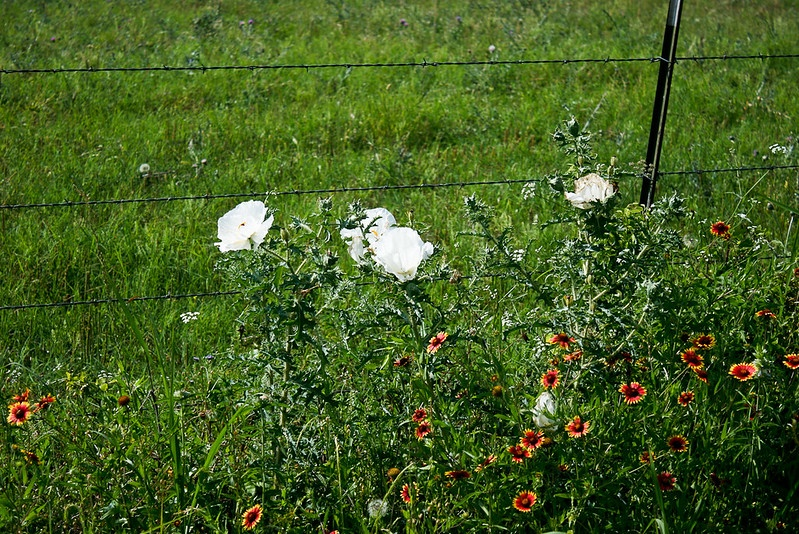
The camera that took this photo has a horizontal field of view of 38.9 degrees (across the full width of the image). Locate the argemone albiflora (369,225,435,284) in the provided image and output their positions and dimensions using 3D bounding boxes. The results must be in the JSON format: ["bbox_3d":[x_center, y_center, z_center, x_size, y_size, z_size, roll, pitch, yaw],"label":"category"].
[{"bbox_3d":[0.001,-0.077,6.013,0.274,0.307,0.146,-23,12,1],"label":"argemone albiflora"}]

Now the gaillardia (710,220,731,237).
[{"bbox_3d":[1.933,-0.230,6.796,0.106,0.119,0.040,5,0,10],"label":"gaillardia"}]

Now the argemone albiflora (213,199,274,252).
[{"bbox_3d":[-0.844,-0.201,6.148,0.308,0.285,0.157,-15,25,-8],"label":"argemone albiflora"}]
